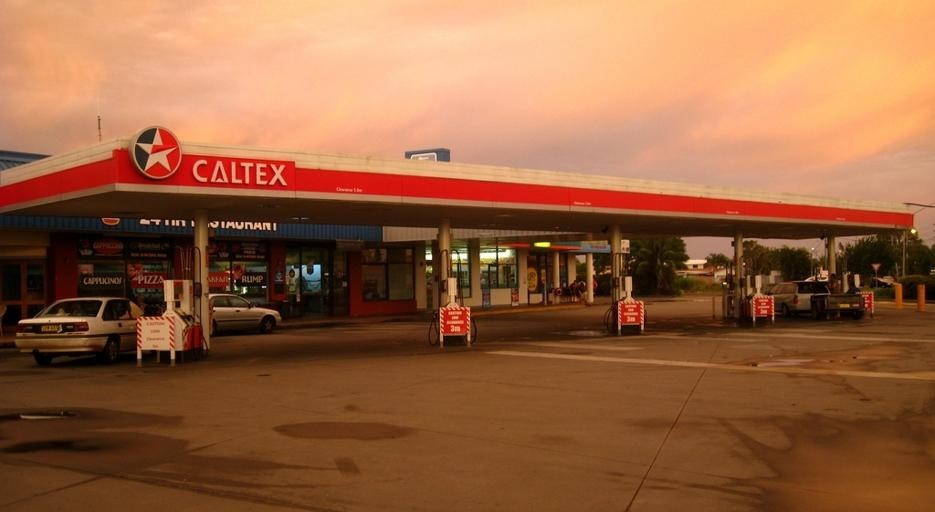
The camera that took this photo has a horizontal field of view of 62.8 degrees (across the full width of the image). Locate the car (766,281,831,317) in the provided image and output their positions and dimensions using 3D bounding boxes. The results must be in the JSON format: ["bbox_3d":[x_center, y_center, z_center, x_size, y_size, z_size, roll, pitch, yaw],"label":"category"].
[{"bbox_3d":[17.485,2.220,40.407,1.100,2.098,2.833,-5,11,-23],"label":"car"}]
